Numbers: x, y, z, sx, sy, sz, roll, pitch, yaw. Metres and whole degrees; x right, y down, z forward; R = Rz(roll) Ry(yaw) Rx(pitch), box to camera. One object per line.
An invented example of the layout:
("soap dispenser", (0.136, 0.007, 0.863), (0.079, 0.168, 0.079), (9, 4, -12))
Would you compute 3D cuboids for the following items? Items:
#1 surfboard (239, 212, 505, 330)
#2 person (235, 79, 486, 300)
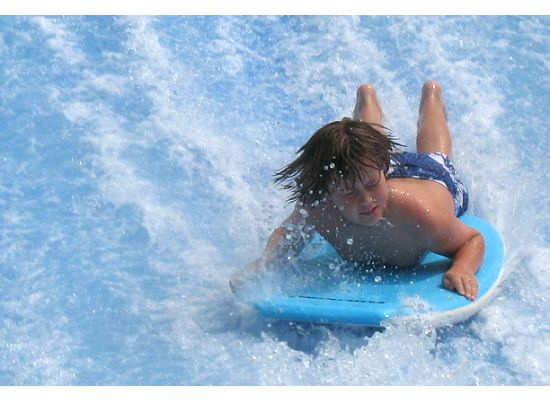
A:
("surfboard", (0.773, 0.531, 4.376), (1.638, 0.229, 0.968), (0, 39, 7))
("person", (0.915, -0.289, 4.950), (1.263, 0.846, 1.962), (-1, 30, 17))
